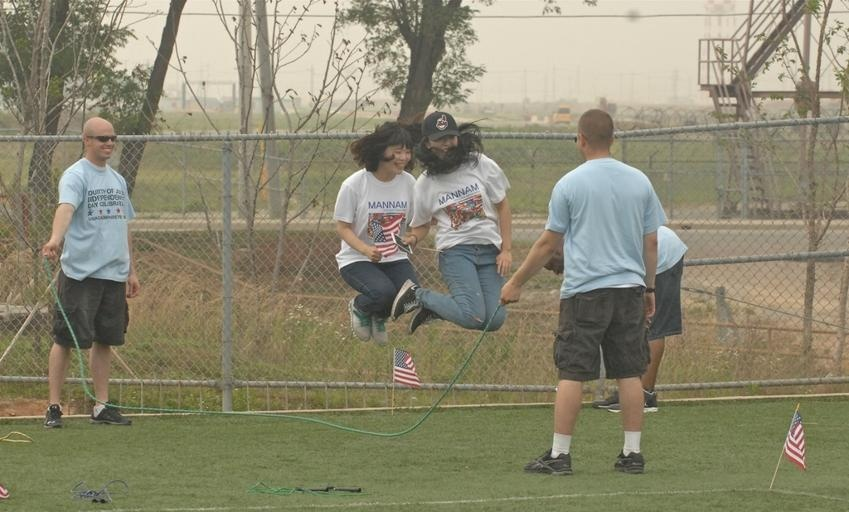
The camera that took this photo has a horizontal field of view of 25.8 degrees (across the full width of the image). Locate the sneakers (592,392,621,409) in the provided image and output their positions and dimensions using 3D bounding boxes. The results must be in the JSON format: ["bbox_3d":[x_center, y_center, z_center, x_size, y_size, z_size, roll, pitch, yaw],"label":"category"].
[{"bbox_3d":[2.823,2.225,28.229,0.566,0.227,0.178,1,-3,10],"label":"sneakers"}]

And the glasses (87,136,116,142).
[{"bbox_3d":[-4.750,-1.725,27.544,0.370,0.098,0.114,-1,2,-26],"label":"glasses"}]

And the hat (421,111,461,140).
[{"bbox_3d":[0.269,-1.948,27.821,0.560,0.417,0.273,0,2,-1],"label":"hat"}]

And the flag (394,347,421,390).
[{"bbox_3d":[-0.233,1.710,28.204,0.415,0.589,0.194,0,2,0],"label":"flag"}]

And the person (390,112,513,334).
[{"bbox_3d":[0.522,-0.533,27.837,1.549,3.189,0.538,0,2,-1],"label":"person"}]
